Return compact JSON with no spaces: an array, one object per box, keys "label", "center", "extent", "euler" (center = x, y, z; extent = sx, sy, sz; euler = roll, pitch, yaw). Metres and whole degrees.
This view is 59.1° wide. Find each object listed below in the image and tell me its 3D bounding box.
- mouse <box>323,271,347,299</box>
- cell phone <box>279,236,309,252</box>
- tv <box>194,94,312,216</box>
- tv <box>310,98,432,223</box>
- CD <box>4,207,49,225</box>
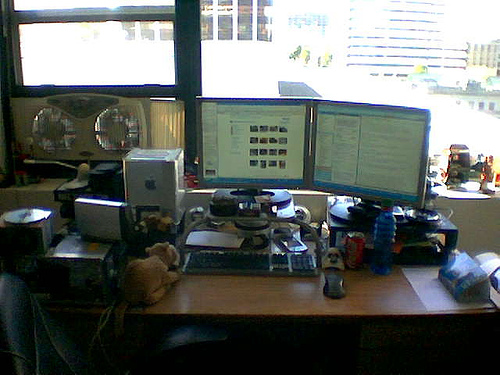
[{"label":"mouse","center":[0.348,0.401,1.829],"extent":[0.092,0.027,0.168],"euler":[0,19,9]},{"label":"cell phone","center":[0.210,0.282,2.112],"extent":[0.127,0.046,0.145],"euler":[-6,16,-19]},{"label":"tv","center":[0.017,-0.159,2.003],"extent":[0.631,0.477,0.078],"euler":[1,11,-2]},{"label":"tv","center":[0.538,-0.131,1.936],"extent":[0.574,0.470,0.059],"euler":[7,17,21]},{"label":"CD","center":[-0.920,0.118,1.814],"extent":[0.189,0.030,0.149],"euler":[-1,15,-1]}]
